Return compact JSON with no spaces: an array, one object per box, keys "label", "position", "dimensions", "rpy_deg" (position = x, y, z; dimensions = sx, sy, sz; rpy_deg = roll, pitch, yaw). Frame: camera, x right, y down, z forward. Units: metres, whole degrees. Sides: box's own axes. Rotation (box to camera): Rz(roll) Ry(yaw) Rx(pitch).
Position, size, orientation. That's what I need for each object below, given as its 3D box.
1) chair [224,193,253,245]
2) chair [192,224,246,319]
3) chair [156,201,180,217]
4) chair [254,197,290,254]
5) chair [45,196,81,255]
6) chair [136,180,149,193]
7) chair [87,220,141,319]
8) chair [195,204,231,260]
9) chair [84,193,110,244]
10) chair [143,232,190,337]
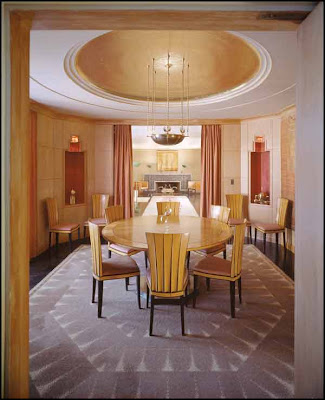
[{"label":"chair","position":[1.405,0.366,5.689],"dimensions":[0.429,0.932,0.535],"rpy_deg":[-3,4,-10]},{"label":"chair","position":[0.567,0.627,2.937],"dimensions":[0.414,0.869,0.411],"rpy_deg":[6,12,27]},{"label":"chair","position":[0.084,0.117,4.504],"dimensions":[0.229,0.217,0.221],"rpy_deg":[0,3,-2]},{"label":"chair","position":[1.864,0.397,5.142],"dimensions":[0.425,0.902,0.453],"rpy_deg":[1,8,0]},{"label":"chair","position":[-1.649,0.377,5.007],"dimensions":[0.450,0.839,0.443],"rpy_deg":[-1,5,-8]},{"label":"chair","position":[-1.065,-0.628,15.300],"dimensions":[0.334,0.617,1.085],"rpy_deg":[2,7,23]},{"label":"chair","position":[-0.470,0.610,2.923],"dimensions":[0.417,0.894,0.404],"rpy_deg":[-5,13,-23]},{"label":"chair","position":[0.641,0.520,4.044],"dimensions":[0.498,0.836,0.413],"rpy_deg":[-9,11,-34]},{"label":"chair","position":[-1.221,0.317,5.696],"dimensions":[0.406,0.857,0.530],"rpy_deg":[1,6,-2]},{"label":"chair","position":[0.056,0.649,2.557],"dimensions":[0.343,0.973,0.411],"rpy_deg":[-2,17,-6]}]
